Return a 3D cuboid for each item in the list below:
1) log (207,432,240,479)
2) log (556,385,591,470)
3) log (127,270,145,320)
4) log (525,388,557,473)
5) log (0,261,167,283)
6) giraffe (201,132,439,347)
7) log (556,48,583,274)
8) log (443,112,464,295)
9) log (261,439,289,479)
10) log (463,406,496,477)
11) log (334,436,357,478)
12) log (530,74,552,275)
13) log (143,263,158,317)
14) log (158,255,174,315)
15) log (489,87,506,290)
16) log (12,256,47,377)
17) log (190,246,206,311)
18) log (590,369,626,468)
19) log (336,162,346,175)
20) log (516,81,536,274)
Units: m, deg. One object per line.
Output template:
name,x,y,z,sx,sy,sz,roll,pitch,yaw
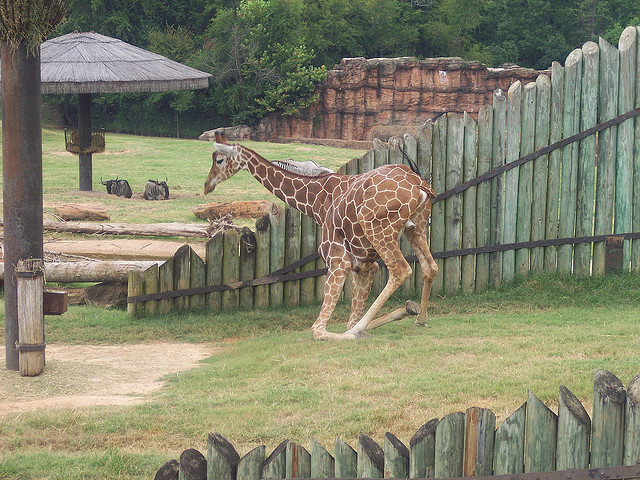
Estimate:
log,-3.002,6.602,51.609,0.936,1.418,0.749,9,3,-9
log,7.884,5.660,51.764,0.993,3.304,0.768,14,42,22
log,-6.307,1.838,57.097,0.581,1.614,0.198,0,2,-3
log,6.883,5.805,51.561,0.975,2.490,0.154,1,2,1
log,-8.034,1.043,56.989,3.769,0.620,0.691,0,6,0
giraffe,0.069,0.263,56.800,6.337,6.466,2.235,2,5,15
log,8.592,-2.432,57.144,0.736,9.736,0.744,-23,38,-24
log,4.579,-1.234,56.765,0.647,6.070,0.187,1,2,8
log,-1.301,6.755,51.990,0.786,1.204,1.110,1,-4,0
log,4.945,6.125,51.553,0.964,2.095,0.151,1,2,3
log,0.816,6.595,51.525,0.700,1.219,0.090,1,2,0
log,7.422,-2.386,56.456,0.556,7.125,0.557,-1,45,9
log,-5.812,1.649,57.098,0.493,1.669,0.119,0,2,-11
log,-5.275,1.524,57.115,0.535,1.925,0.164,0,2,-12
log,6.101,-1.710,57.018,0.732,7.559,0.803,-1,-24,13
log,-9.487,2.475,54.534,0.870,3.748,0.363,0,2,-15
log,-4.186,1.302,57.155,0.543,2.018,0.133,0,2,-6
log,8.946,5.433,51.536,1.065,2.942,0.306,1,2,11
log,0.757,-2.411,57.150,0.264,0.359,0.322,0,13,1
log,6.990,-2.437,56.765,0.443,6.165,0.476,0,21,3
